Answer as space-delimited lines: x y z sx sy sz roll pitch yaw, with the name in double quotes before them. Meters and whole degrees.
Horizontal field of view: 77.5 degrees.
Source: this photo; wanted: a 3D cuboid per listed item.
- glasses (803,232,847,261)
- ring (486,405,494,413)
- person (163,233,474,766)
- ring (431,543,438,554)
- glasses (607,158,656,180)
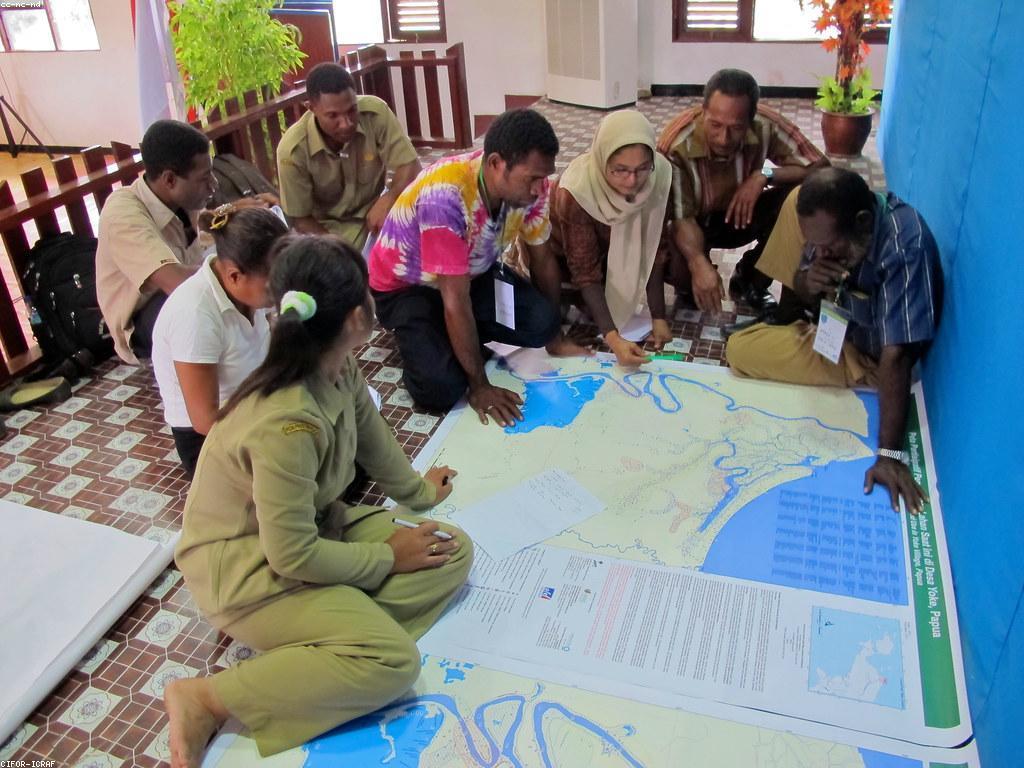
"glasses" 1.070 -0.474 2.173 0.066 0.115 0.075 -45 23 -1
"ring" -0.086 0.091 2.461 0.021 0.017 0.022 4 31 -2
"person" -0.541 0.339 1.725 0.741 1.145 0.963 4 33 -18
"ring" -0.218 0.455 1.781 0.019 0.009 0.026 9 15 -27
"glasses" 0.455 -0.835 2.483 0.166 0.071 0.095 1 27 7
